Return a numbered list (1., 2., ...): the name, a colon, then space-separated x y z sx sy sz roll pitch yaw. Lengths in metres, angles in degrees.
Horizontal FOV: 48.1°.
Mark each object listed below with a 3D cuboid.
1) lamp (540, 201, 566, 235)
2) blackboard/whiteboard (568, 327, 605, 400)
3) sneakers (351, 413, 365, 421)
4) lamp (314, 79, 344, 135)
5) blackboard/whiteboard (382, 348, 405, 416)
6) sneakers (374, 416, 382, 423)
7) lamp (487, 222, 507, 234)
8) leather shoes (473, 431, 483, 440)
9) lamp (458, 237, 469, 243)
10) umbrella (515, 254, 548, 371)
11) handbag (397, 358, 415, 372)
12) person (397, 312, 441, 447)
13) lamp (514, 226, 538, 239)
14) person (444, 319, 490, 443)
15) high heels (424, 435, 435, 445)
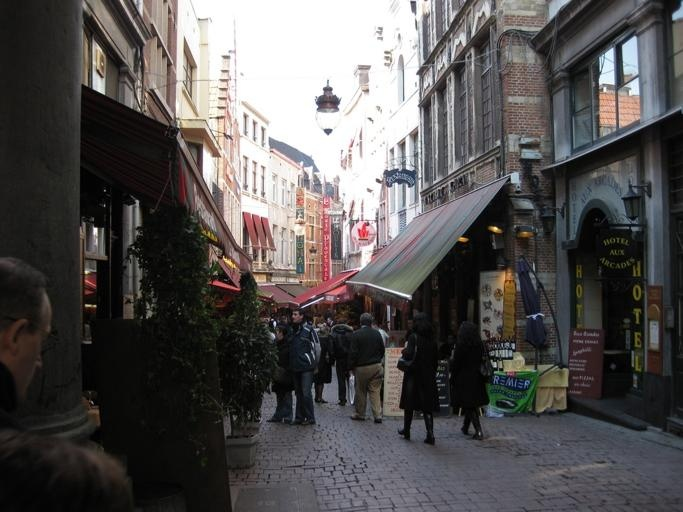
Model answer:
1. lamp: 4.585 -0.809 16.522 0.525 0.683 0.739 -1 -1 11
2. blackboard/whiteboard: 4.836 2.114 15.201 0.680 1.667 0.072 1 27 16
3. sneakers: 0.307 3.082 14.578 0.219 0.123 0.108 6 5 34
4. lamp: -0.281 -3.159 16.438 0.491 1.184 0.627 -1 -1 -1
5. blackboard/whiteboard: 1.167 2.444 15.071 0.632 1.481 0.119 -1 19 -2
6. sneakers: 0.686 3.066 14.295 0.079 0.134 0.121 -3 -20 -5
7. lamp: 3.474 -0.614 17.157 0.355 0.300 0.382 -1 -1 -8
8. leather shoes: 2.237 2.907 12.432 0.166 0.111 0.255 -1 -2 8
9. lamp: 3.136 -0.399 19.606 0.301 0.136 0.311 8 -9 -33
10. umbrella: 4.087 1.153 16.362 0.616 2.304 0.743 -1 -1 15
11. handbag: 1.053 1.807 12.631 0.284 0.237 0.206 0 -1 -13
12. person: 1.268 1.996 12.646 0.661 2.059 1.012 -1 -1 7
13. lamp: 4.053 -0.520 16.619 0.501 0.296 0.381 -1 -1 -6
14. person: 2.127 2.045 12.710 0.627 1.835 0.619 -1 -1 9
15. high heels: 1.407 2.901 12.164 0.171 0.138 0.285 -1 -2 6
